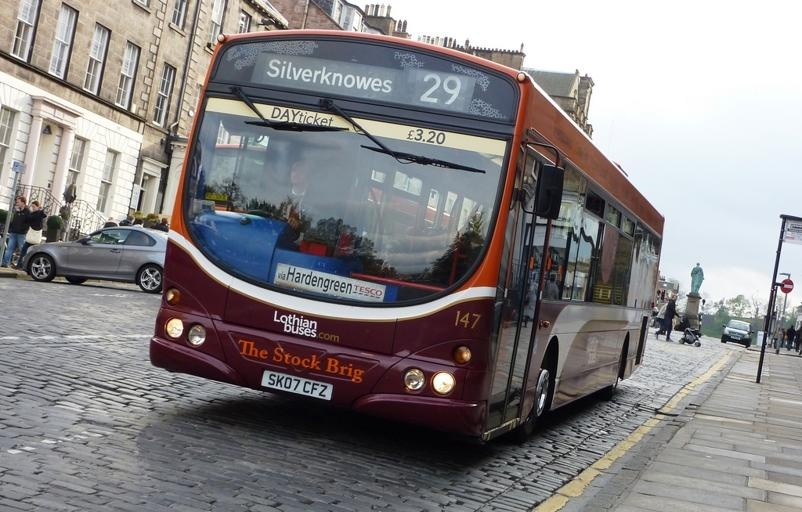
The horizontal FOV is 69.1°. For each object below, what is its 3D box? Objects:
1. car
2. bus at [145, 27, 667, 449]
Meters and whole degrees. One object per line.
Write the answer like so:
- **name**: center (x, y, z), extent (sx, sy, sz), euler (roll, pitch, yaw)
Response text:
- **car**: center (-10.667, 0.168, 20.307), extent (4.822, 1.680, 2.214), euler (5, -3, 3)
- **bus**: center (0.591, -0.065, 7.215), extent (6.158, 4.468, 2.625), euler (8, -1, -35)
